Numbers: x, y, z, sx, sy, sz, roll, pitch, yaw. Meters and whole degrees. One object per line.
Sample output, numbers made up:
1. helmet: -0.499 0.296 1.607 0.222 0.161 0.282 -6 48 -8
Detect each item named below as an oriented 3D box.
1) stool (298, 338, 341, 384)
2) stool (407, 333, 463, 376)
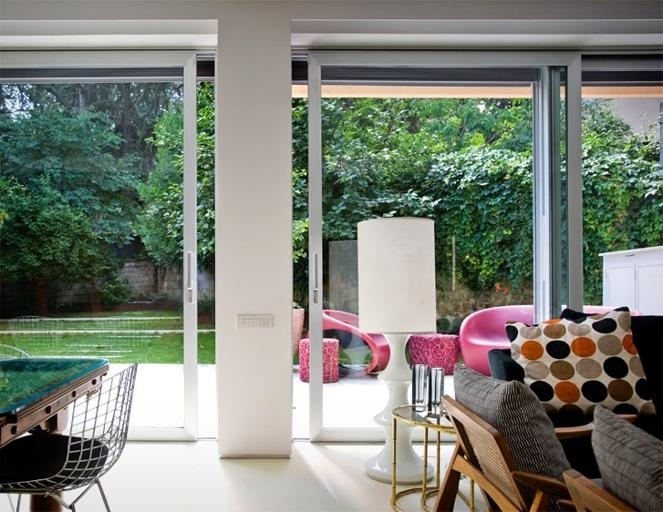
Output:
1. stool: -0.143 0.836 4.493 0.414 0.407 0.211 4 9 31
2. stool: 0.798 0.714 4.488 0.360 0.267 0.376 0 -2 8
